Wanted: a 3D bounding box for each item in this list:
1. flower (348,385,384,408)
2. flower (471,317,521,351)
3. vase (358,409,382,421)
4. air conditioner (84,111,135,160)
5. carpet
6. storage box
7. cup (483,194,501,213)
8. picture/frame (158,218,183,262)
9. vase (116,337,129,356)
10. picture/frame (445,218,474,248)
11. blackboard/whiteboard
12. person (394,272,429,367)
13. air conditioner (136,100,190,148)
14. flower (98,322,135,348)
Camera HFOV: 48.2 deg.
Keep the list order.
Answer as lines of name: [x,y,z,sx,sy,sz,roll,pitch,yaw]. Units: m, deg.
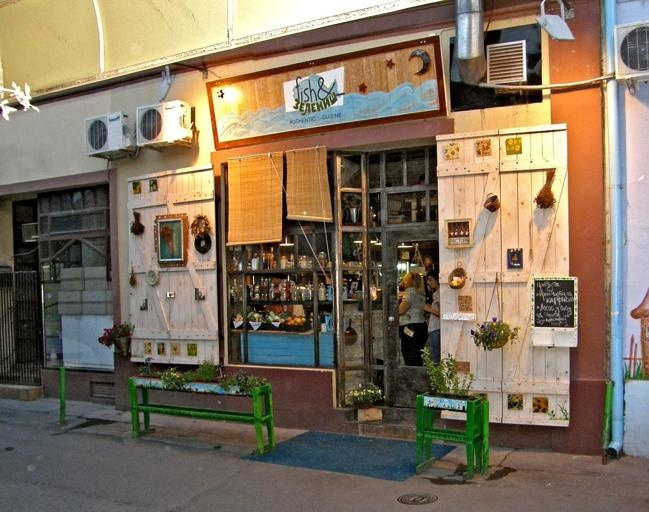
flower: [0.646,2.086,11.135,0.365,0.276,0.407,-1,-3,13]
flower: [2.307,1.092,10.039,0.484,0.357,0.477,-1,-3,-42]
vase: [0.695,2.407,11.041,0.275,0.194,0.198,-2,0,5]
air conditioner: [-3.817,-2.128,12.929,0.807,0.711,0.477,-7,-6,15]
carpet: [0.262,2.744,10.027,3.615,0.135,1.968,2,-2,29]
storage box: [-4.764,0.551,13.978,0.692,3.808,1.315,3,3,36]
cup: [2.350,-0.743,10.176,0.225,0.258,0.127,0,8,15]
picture/frame: [-2.597,-0.266,12.361,0.604,0.896,0.108,-3,-7,24]
vase: [-3.534,1.576,12.812,0.268,0.299,0.266,1,8,-34]
picture/frame: [1.938,-0.325,10.355,0.353,0.459,0.062,-2,-9,31]
blackboard/whiteboard: [3.098,0.743,9.818,0.578,0.902,0.196,0,8,13]
person: [1.351,0.962,11.190,0.455,1.384,0.371,1,0,28]
air conditioner: [-2.737,-2.223,12.353,0.862,0.695,0.505,-2,2,28]
flower: [-3.700,1.394,12.964,0.477,0.399,0.526,-6,-6,-1]
